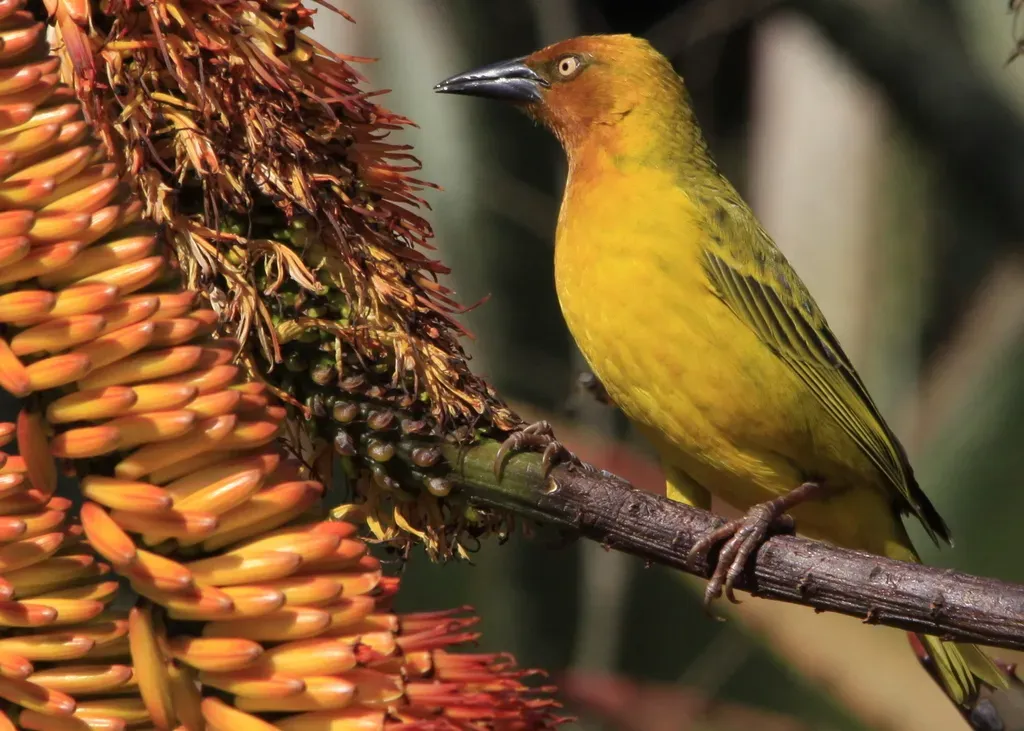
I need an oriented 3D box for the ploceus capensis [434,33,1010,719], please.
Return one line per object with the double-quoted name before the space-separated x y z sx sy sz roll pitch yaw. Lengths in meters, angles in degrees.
"ploceus capensis" 0.304 -0.112 2.788 0.563 0.745 0.758 -1 13 -42
